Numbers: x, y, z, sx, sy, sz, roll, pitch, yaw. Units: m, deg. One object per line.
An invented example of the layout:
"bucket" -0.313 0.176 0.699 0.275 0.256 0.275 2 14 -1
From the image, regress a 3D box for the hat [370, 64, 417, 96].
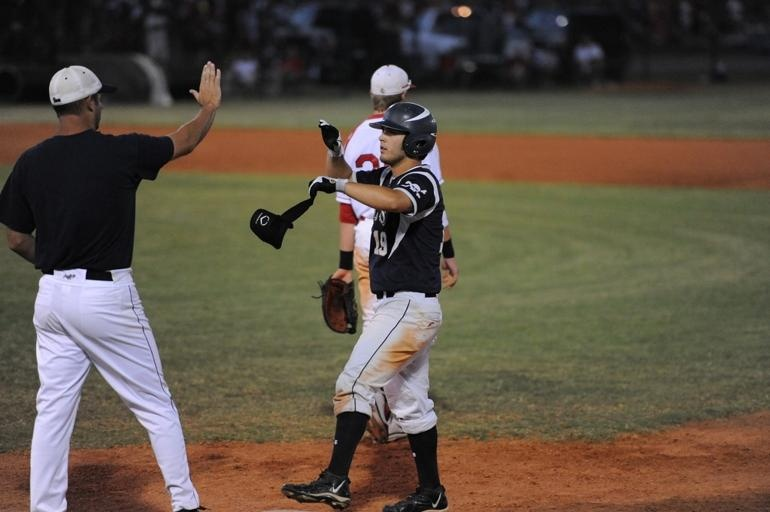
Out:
"hat" 0.050 -1.911 14.048 0.442 0.334 0.261 0 8 -5

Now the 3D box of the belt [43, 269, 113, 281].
"belt" -3.100 0.197 13.029 0.643 0.116 0.067 1 9 4

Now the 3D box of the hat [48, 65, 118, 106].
"hat" -3.147 -1.736 13.169 0.554 0.275 0.379 -18 18 -27

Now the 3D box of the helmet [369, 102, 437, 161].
"helmet" 0.187 -1.277 13.214 0.626 0.579 0.240 0 9 -1

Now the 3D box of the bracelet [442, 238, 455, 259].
"bracelet" 0.667 -0.082 14.175 0.198 0.189 0.190 0 9 -2

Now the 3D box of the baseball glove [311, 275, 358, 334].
"baseball glove" -0.569 0.484 14.174 0.545 0.271 0.706 24 16 -6
